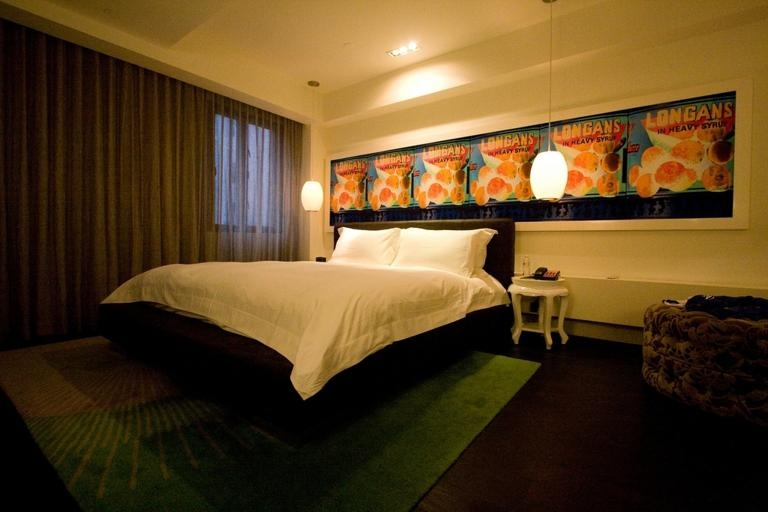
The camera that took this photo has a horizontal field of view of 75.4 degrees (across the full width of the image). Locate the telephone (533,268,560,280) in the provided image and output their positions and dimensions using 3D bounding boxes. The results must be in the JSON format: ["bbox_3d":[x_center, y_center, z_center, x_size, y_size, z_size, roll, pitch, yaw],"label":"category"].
[{"bbox_3d":[1.595,0.190,4.895,0.158,0.058,0.157,-4,6,42],"label":"telephone"}]

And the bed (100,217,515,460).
[{"bbox_3d":[-0.291,0.690,3.953,1.810,0.728,1.746,2,1,44],"label":"bed"}]

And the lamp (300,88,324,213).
[{"bbox_3d":[-0.935,-1.368,6.362,0.267,1.688,0.515,-2,13,-9],"label":"lamp"}]

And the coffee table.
[{"bbox_3d":[1.559,0.568,5.053,0.540,0.626,0.590,2,1,39],"label":"coffee table"}]
